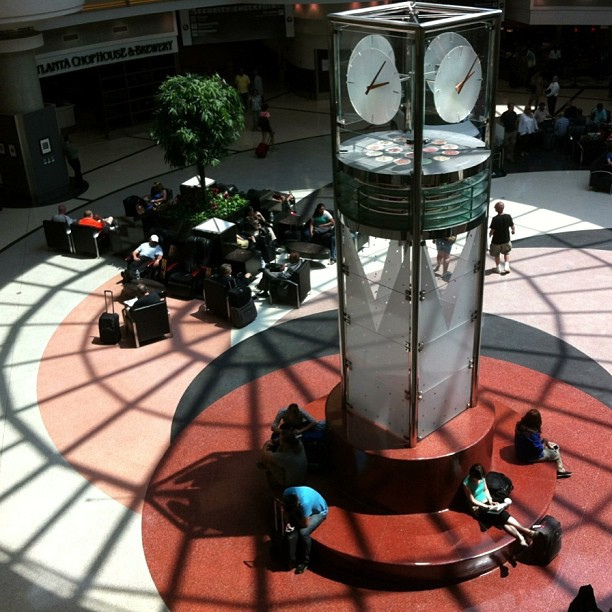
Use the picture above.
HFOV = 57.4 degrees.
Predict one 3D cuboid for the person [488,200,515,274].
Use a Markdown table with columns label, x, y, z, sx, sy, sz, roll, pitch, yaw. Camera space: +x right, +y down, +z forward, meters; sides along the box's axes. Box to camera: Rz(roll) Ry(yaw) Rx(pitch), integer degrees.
| label | x | y | z | sx | sy | sz | roll | pitch | yaw |
| --- | --- | --- | --- | --- | --- | --- | --- | --- | --- |
| person | 4.242 | -1.389 | 12.029 | 0.494 | 1.335 | 0.601 | 3 | 24 | 17 |

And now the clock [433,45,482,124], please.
| label | x | y | z | sx | sy | sz | roll | pitch | yaw |
| --- | --- | --- | --- | --- | --- | --- | --- | --- | --- |
| clock | 1.388 | -1.975 | 4.992 | 0.620 | 0.642 | 0.163 | -21 | 29 | -37 |

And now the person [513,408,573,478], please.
| label | x | y | z | sx | sy | sz | roll | pitch | yaw |
| --- | --- | --- | --- | --- | --- | --- | --- | --- | --- |
| person | 3.003 | 1.771 | 7.045 | 0.837 | 0.888 | 0.438 | -3 | 3 | -15 |

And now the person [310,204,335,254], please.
| label | x | y | z | sx | sy | sz | roll | pitch | yaw |
| --- | --- | --- | --- | --- | --- | --- | --- | --- | --- |
| person | 0.392 | -1.935 | 13.377 | 0.594 | 0.957 | 0.915 | -4 | 22 | 2 |

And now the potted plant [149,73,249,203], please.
| label | x | y | z | sx | sy | sz | roll | pitch | yaw |
| --- | --- | --- | --- | --- | --- | --- | --- | --- | --- |
| potted plant | -2.720 | -4.208 | 14.171 | 2.178 | 3.111 | 1.346 | -11 | 24 | -16 |

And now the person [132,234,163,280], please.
| label | x | y | z | sx | sy | sz | roll | pitch | yaw |
| --- | --- | --- | --- | --- | --- | --- | --- | --- | --- |
| person | -3.605 | -1.105 | 12.839 | 0.595 | 0.872 | 0.920 | -2 | 21 | 4 |

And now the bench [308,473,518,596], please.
| label | x | y | z | sx | sy | sz | roll | pitch | yaw |
| --- | --- | --- | --- | --- | --- | --- | --- | --- | --- |
| bench | 1.107 | 2.600 | 6.058 | 2.031 | 0.519 | 0.969 | 3 | 21 | 17 |

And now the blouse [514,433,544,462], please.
| label | x | y | z | sx | sy | sz | roll | pitch | yaw |
| --- | --- | --- | --- | --- | --- | --- | --- | --- | --- |
| blouse | 2.801 | 1.736 | 6.931 | 0.349 | 0.464 | 0.203 | 4 | 25 | 19 |

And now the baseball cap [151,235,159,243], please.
| label | x | y | z | sx | sy | sz | roll | pitch | yaw |
| --- | --- | --- | --- | --- | --- | --- | --- | --- | --- |
| baseball cap | -3.505 | -1.548 | 13.044 | 0.173 | 0.142 | 0.155 | 21 | 50 | 13 |

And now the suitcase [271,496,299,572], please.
| label | x | y | z | sx | sy | sz | roll | pitch | yaw |
| --- | --- | --- | --- | --- | --- | --- | --- | --- | --- |
| suitcase | -0.242 | 2.505 | 6.118 | 0.343 | 0.752 | 0.375 | -6 | 23 | -3 |

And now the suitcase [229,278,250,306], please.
| label | x | y | z | sx | sy | sz | roll | pitch | yaw |
| --- | --- | --- | --- | --- | --- | --- | --- | --- | --- |
| suitcase | -1.273 | -0.265 | 11.032 | 0.484 | 0.460 | 0.779 | 2 | 8 | 8 |

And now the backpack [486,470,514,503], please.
| label | x | y | z | sx | sy | sz | roll | pitch | yaw |
| --- | --- | --- | --- | --- | --- | --- | --- | --- | --- |
| backpack | 2.216 | 2.023 | 6.305 | 0.133 | 0.263 | 0.297 | -3 | 26 | -35 |

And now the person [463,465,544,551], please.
| label | x | y | z | sx | sy | sz | roll | pitch | yaw |
| --- | --- | --- | --- | --- | --- | --- | --- | --- | --- |
| person | 2.161 | 2.244 | 6.104 | 0.374 | 0.618 | 1.109 | -40 | 41 | -14 |

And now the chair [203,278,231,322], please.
| label | x | y | z | sx | sy | sz | roll | pitch | yaw |
| --- | --- | --- | --- | --- | --- | --- | --- | --- | --- |
| chair | -1.754 | -0.141 | 11.220 | 0.633 | 0.713 | 0.625 | 26 | 41 | 28 |

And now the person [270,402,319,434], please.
| label | x | y | z | sx | sy | sz | roll | pitch | yaw |
| --- | --- | --- | --- | --- | --- | --- | --- | --- | --- |
| person | -0.143 | 1.477 | 7.218 | 0.591 | 0.720 | 0.402 | -6 | 66 | -1 |

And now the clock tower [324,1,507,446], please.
| label | x | y | z | sx | sy | sz | roll | pitch | yaw |
| --- | --- | --- | --- | --- | --- | --- | --- | --- | --- |
| clock tower | 1.092 | -0.687 | 5.766 | 1.638 | 4.478 | 1.460 | -4 | 24 | 2 |

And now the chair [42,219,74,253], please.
| label | x | y | z | sx | sy | sz | roll | pitch | yaw |
| --- | --- | --- | --- | --- | --- | --- | --- | --- | --- |
| chair | -6.281 | -1.770 | 14.186 | 0.746 | 0.777 | 0.699 | 11 | 34 | 11 |

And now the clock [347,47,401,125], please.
| label | x | y | z | sx | sy | sz | roll | pitch | yaw |
| --- | --- | --- | --- | --- | --- | --- | --- | --- | --- |
| clock | 0.606 | -1.971 | 4.983 | 0.807 | 0.678 | 0.085 | 17 | 35 | 31 |

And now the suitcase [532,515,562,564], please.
| label | x | y | z | sx | sy | sz | roll | pitch | yaw |
| --- | --- | --- | --- | --- | --- | --- | --- | --- | --- |
| suitcase | 2.562 | 2.472 | 5.905 | 0.216 | 0.556 | 0.295 | 15 | 30 | 38 |

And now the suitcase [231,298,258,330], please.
| label | x | y | z | sx | sy | sz | roll | pitch | yaw |
| --- | --- | --- | --- | --- | --- | --- | --- | --- | --- |
| suitcase | -1.224 | 0.170 | 10.977 | 0.334 | 0.396 | 0.512 | 13 | 37 | 31 |
